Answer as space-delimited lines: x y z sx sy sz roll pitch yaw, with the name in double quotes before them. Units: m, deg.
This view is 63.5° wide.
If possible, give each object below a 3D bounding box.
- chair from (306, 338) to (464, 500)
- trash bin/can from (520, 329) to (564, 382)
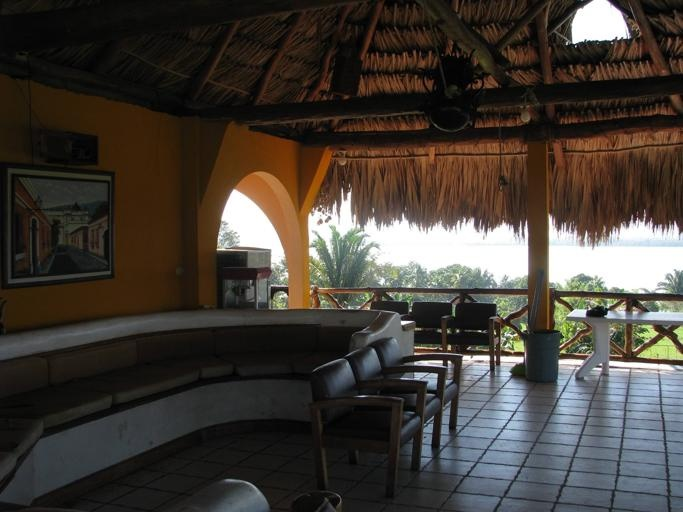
"chair" 0.408 1.290 4.649 0.721 0.918 1.512 2 5 29
"trash bin/can" 2.523 1.258 7.192 0.614 0.780 0.532 1 -3 0
